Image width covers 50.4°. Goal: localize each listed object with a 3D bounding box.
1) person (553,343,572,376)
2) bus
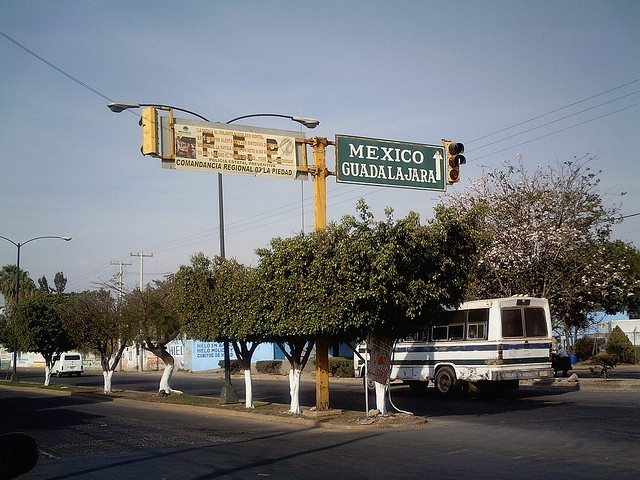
[{"bbox_3d":[11.158,5.441,31.238,0.658,1.506,0.879,-8,2,-18],"label":"person"},{"bbox_3d":[5.082,4.605,28.167,3.106,3.941,8.849,6,-12,-29],"label":"bus"}]
